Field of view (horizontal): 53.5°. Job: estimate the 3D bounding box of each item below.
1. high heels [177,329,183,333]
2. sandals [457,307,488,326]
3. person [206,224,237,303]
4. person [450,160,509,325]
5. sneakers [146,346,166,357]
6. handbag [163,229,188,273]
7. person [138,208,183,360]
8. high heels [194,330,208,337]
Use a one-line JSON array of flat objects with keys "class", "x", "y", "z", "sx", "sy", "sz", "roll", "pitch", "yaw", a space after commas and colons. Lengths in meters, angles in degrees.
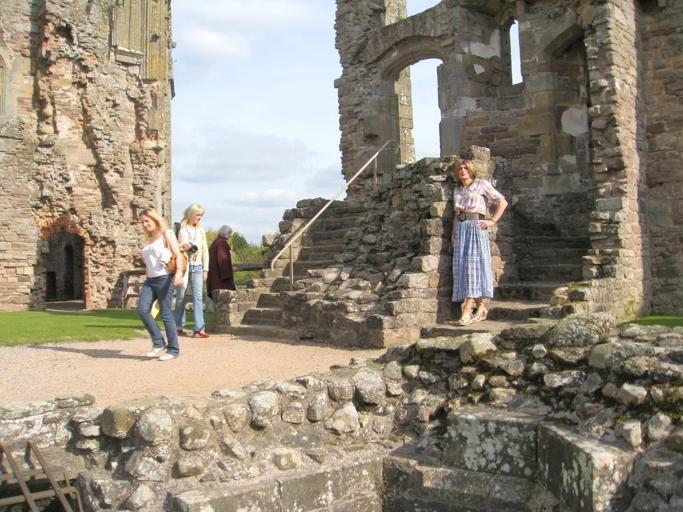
[{"class": "high heels", "x": -2.781, "y": 1.336, "z": 11.746, "sx": 0.098, "sy": 0.066, "sz": 0.095, "roll": -1, "pitch": 3, "yaw": -7}, {"class": "sandals", "x": 1.944, "y": 0.903, "z": 9.919, "sx": 0.186, "sy": 0.180, "sz": 0.538, "roll": -12, "pitch": -6, "yaw": 39}, {"class": "person", "x": -2.280, "y": 0.161, "z": 12.808, "sx": 0.606, "sy": 1.575, "sz": 1.205, "roll": -7, "pitch": 14, "yaw": -12}, {"class": "person", "x": 2.018, "y": -0.213, "z": 10.135, "sx": 0.761, "sy": 2.414, "sz": 1.486, "roll": -2, "pitch": 14, "yaw": 9}, {"class": "sneakers", "x": -2.571, "y": 1.347, "z": 9.394, "sx": 0.105, "sy": 0.114, "sz": 0.296, "roll": -2, "pitch": -2, "yaw": 31}, {"class": "handbag", "x": -2.267, "y": -0.024, "z": 9.301, "sx": 0.186, "sy": 0.732, "sz": 0.615, "roll": -5, "pitch": 13, "yaw": -2}, {"class": "person", "x": -2.449, "y": 0.415, "z": 9.165, "sx": 0.641, "sy": 2.076, "sz": 0.552, "roll": -6, "pitch": 14, "yaw": -4}, {"class": "high heels", "x": -2.360, "y": 1.339, "z": 11.510, "sx": 0.269, "sy": 0.102, "sz": 0.095, "roll": -4, "pitch": -1, "yaw": 31}]
